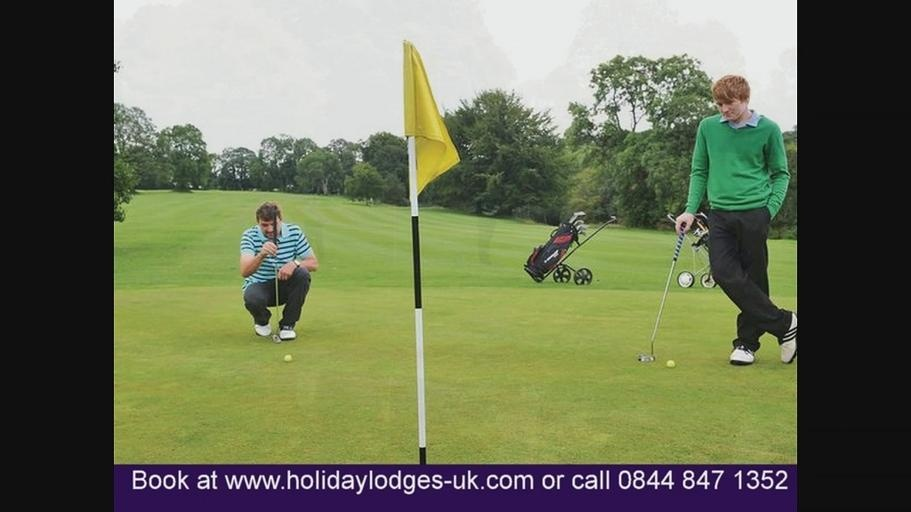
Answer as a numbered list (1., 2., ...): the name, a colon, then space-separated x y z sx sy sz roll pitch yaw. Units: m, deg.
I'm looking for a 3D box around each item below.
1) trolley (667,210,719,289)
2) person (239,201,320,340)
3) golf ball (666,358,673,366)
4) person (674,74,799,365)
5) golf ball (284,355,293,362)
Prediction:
1. trolley: 4.248 -0.086 13.362 1.241 1.331 0.824 2 -1 16
2. person: -2.168 0.215 9.395 0.865 1.721 0.417 -2 8 -12
3. golf ball: 2.431 1.214 8.671 0.060 0.055 0.057 22 -13 5
4. person: 3.195 -0.347 8.837 1.482 3.048 1.061 0 0 -23
5. golf ball: -1.951 1.188 8.895 0.062 0.053 0.076 -2 0 7
